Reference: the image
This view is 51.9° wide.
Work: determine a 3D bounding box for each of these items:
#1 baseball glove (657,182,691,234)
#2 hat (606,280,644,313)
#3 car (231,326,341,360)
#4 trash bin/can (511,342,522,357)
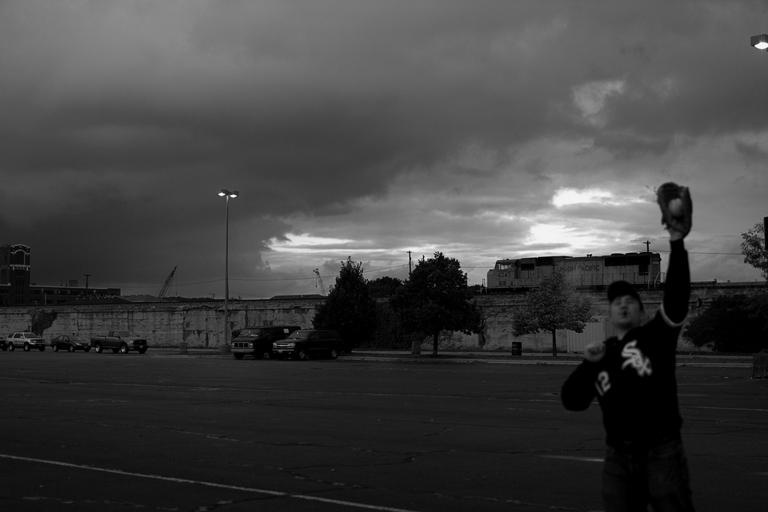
[{"bbox_3d":[2.917,-0.459,7.958,0.300,0.535,0.254,0,-6,18],"label":"baseball glove"},{"bbox_3d":[2.688,0.510,8.763,0.355,0.461,0.157,-11,5,24],"label":"hat"},{"bbox_3d":[-5.960,5.286,47.684,5.654,1.930,3.380,-1,-6,22],"label":"car"},{"bbox_3d":[8.161,5.816,48.978,0.588,0.963,0.543,-1,-40,10],"label":"trash bin/can"}]
